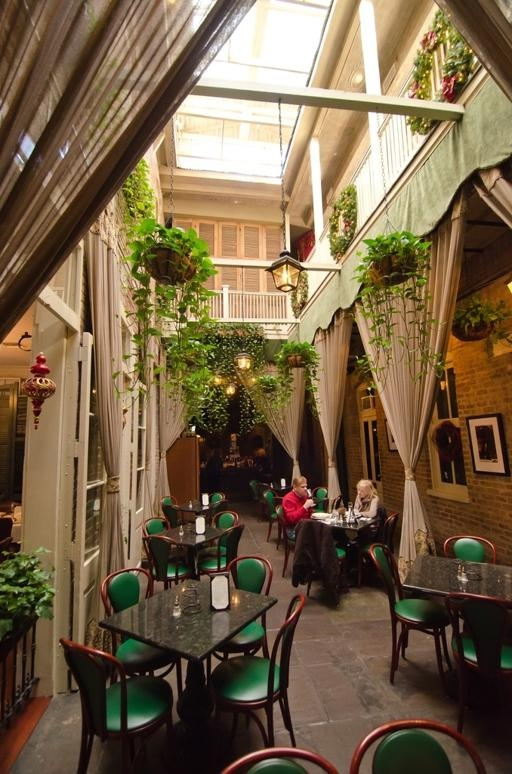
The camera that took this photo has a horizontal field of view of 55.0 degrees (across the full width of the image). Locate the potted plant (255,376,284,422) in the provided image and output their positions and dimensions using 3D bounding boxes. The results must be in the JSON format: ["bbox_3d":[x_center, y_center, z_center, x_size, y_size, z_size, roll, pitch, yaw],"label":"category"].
[{"bbox_3d":[0.340,0.197,8.826,0.592,0.824,0.687,1,2,-4],"label":"potted plant"}]

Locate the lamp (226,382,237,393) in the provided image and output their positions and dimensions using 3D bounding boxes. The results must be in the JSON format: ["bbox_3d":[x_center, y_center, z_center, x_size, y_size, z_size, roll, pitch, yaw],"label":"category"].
[{"bbox_3d":[-0.473,0.022,9.290,0.163,0.247,0.172,4,4,16],"label":"lamp"}]

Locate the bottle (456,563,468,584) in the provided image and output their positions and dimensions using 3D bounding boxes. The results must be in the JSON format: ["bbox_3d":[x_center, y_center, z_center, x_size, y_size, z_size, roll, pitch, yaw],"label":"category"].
[{"bbox_3d":[1.297,1.154,3.016,0.031,0.110,0.045,8,-14,-42],"label":"bottle"}]

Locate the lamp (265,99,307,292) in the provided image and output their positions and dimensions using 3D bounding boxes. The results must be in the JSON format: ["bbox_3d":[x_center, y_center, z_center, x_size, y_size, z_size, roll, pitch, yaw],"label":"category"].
[{"bbox_3d":[0.267,-1.752,4.468,0.262,1.694,0.270,-2,-4,12],"label":"lamp"}]

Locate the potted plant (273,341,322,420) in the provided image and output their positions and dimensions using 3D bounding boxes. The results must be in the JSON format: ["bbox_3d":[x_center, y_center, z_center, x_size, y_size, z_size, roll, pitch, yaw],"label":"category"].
[{"bbox_3d":[0.569,-0.279,6.696,0.484,0.733,0.474,-2,18,-6],"label":"potted plant"}]
